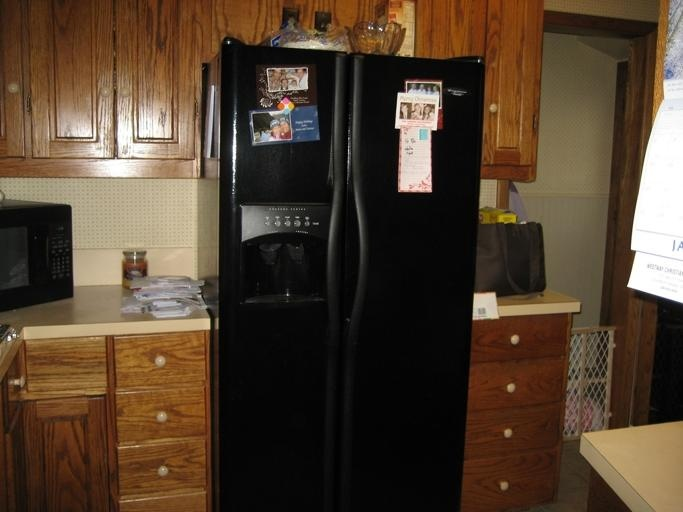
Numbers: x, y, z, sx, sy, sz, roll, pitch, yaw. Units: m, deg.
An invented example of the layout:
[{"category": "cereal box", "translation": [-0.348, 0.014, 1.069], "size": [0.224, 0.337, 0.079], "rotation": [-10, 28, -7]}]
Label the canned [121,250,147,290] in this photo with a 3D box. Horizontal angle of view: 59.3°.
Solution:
[{"category": "canned", "translation": [-1.043, 0.057, 3.027], "size": [0.121, 0.197, 0.126], "rotation": [10, 11, 34]}]

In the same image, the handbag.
[{"category": "handbag", "translation": [0.866, 0.004, 3.065], "size": [0.394, 0.380, 0.211], "rotation": [-3, 4, -18]}]

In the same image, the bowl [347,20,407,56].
[{"category": "bowl", "translation": [0.162, -0.973, 2.670], "size": [0.238, 0.153, 0.292], "rotation": [0, 18, 7]}]

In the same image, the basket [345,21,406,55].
[{"category": "basket", "translation": [0.162, -0.930, 2.568], "size": [0.206, 0.103, 0.176], "rotation": [7, 11, 37]}]
